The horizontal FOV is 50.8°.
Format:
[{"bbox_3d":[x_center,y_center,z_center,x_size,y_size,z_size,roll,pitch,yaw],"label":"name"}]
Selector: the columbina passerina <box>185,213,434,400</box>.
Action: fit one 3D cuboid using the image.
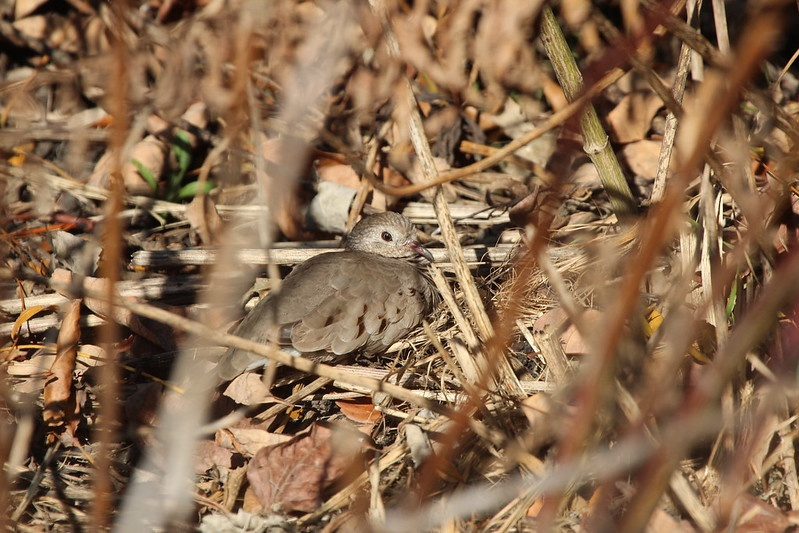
[{"bbox_3d":[-0.376,0.130,3.928,1.183,0.632,0.610,-16,30,-30],"label":"columbina passerina"}]
